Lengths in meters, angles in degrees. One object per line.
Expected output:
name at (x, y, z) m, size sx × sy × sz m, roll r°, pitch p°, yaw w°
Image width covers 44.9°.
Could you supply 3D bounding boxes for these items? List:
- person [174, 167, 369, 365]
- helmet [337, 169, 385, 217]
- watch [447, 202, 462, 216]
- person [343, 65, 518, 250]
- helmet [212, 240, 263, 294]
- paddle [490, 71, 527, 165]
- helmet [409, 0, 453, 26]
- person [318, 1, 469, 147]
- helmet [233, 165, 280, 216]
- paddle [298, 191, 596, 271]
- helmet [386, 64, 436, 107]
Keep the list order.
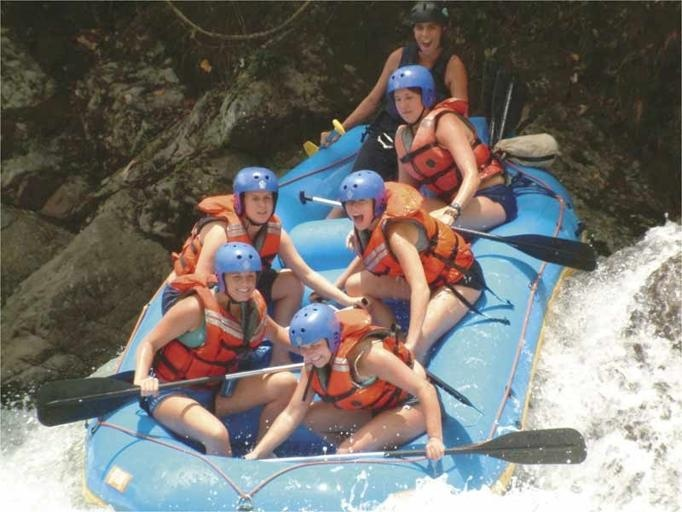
person at (-0.714, 0.095, 6.683) m, size 1.031 × 1.499 × 1.714 m, roll -6°, pitch 11°, yaw -32°
helmet at (0.208, -0.487, 6.616) m, size 0.273 × 0.379 × 0.299 m, roll -4°, pitch 61°, yaw 30°
watch at (0.951, -0.396, 6.969) m, size 0.035 × 0.101 × 0.100 m, roll -20°, pitch 2°, yaw 38°
person at (0.757, -0.913, 7.271) m, size 1.327 × 1.569 × 0.963 m, roll -22°, pitch 12°, yaw -40°
helmet at (-0.791, 0.085, 6.341) m, size 0.335 × 0.336 × 0.255 m, roll -3°, pitch 43°, yaw -20°
paddle at (1.523, -1.424, 8.107) m, size 0.282 × 1.024 × 0.116 m, roll -14°, pitch 39°, yaw -19°
helmet at (0.870, -2.295, 7.942) m, size 0.297 × 0.210 × 0.390 m, roll 4°, pitch 14°, yaw 14°
person at (0.527, -1.904, 8.459) m, size 1.458 × 1.135 × 0.869 m, roll 25°, pitch 39°, yaw 28°
helmet at (-0.699, -0.540, 6.813) m, size 0.304 × 0.370 × 0.386 m, roll 1°, pitch -3°, yaw -13°
paddle at (0.903, -0.194, 6.974) m, size 1.751 × 0.200 × 0.157 m, roll 19°, pitch 11°, yaw 6°
helmet at (0.584, -1.488, 7.124) m, size 0.305 × 0.401 × 0.307 m, roll 0°, pitch 55°, yaw 36°
